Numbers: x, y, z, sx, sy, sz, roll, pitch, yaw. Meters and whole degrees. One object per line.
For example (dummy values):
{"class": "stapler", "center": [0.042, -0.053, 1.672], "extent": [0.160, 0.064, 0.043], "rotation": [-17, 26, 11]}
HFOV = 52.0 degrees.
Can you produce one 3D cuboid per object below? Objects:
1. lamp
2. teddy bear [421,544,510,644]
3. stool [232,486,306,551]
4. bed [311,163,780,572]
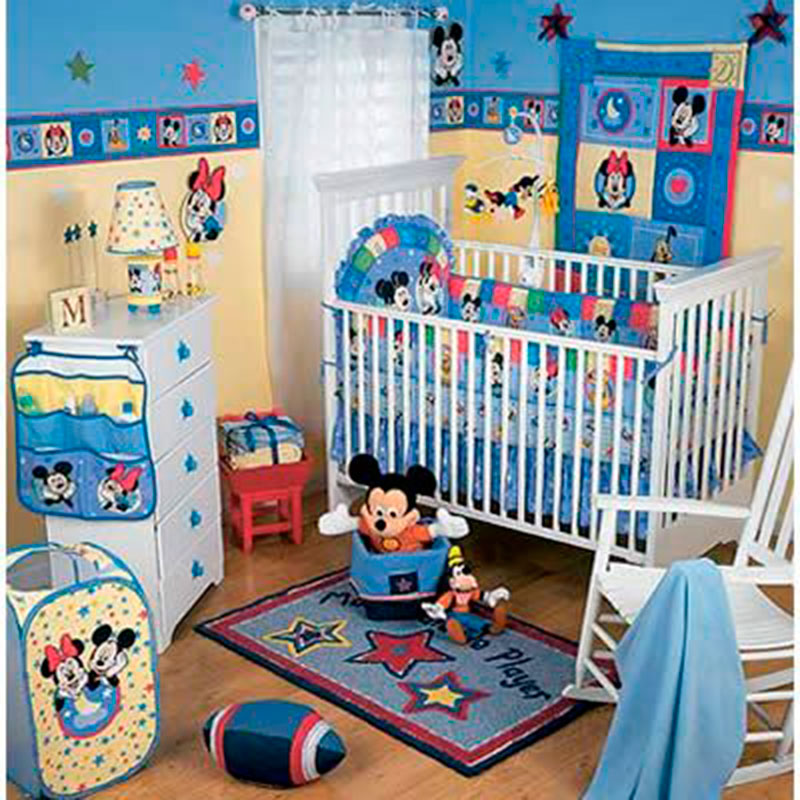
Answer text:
{"class": "lamp", "center": [-0.832, -0.488, 2.615], "extent": [0.206, 0.414, 0.212], "rotation": [-10, 22, -29]}
{"class": "teddy bear", "center": [0.201, 0.610, 2.590], "extent": [0.236, 0.286, 0.193], "rotation": [-7, 12, -11]}
{"class": "stool", "center": [-0.534, 0.446, 3.272], "extent": [0.236, 0.268, 0.244], "rotation": [-4, 10, -25]}
{"class": "bed", "center": [0.553, -0.062, 2.874], "extent": [0.887, 0.916, 0.641], "rotation": [7, 13, 37]}
